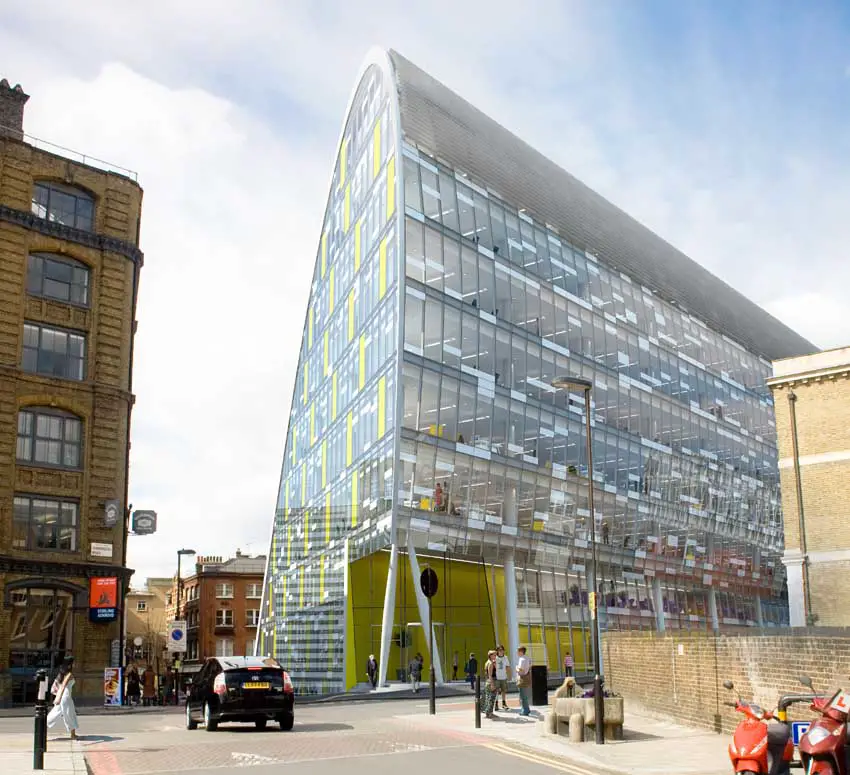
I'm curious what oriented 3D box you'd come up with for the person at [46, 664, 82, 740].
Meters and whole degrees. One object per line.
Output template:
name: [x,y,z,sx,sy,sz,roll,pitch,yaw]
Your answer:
person: [-7.413,6.508,17.424,0.575,1.318,1.347,7,-20,-20]
